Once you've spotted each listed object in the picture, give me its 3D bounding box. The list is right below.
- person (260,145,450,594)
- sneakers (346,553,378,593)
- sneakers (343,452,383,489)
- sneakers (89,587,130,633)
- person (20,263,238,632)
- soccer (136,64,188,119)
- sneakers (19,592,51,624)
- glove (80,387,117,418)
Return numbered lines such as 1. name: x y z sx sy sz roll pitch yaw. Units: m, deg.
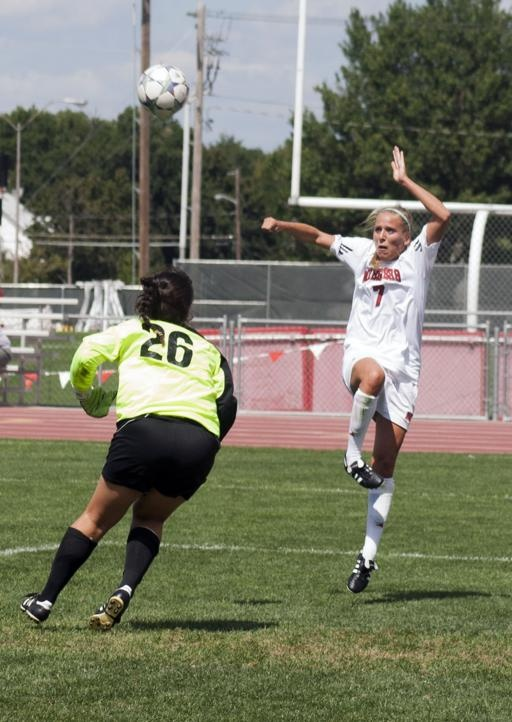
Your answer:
1. person: 0.623 -0.003 7.275 0.602 2.153 0.952 2 2 0
2. sneakers: 0.485 0.998 6.913 0.078 0.242 0.101 37 -33 -13
3. sneakers: 0.520 0.530 7.100 0.244 0.089 0.108 41 -29 15
4. sneakers: -0.601 1.011 6.007 0.150 0.180 0.108 3 2 24
5. person: -0.534 0.372 6.332 0.798 1.608 0.705 -4 -22 43
6. soccer: -0.992 -2.846 15.464 0.519 0.508 0.478 2 2 -6
7. sneakers: -0.932 1.015 6.183 0.073 0.098 0.197 35 6 -32
8. glove: -0.693 0.176 6.384 0.044 0.141 0.142 -5 -50 44
